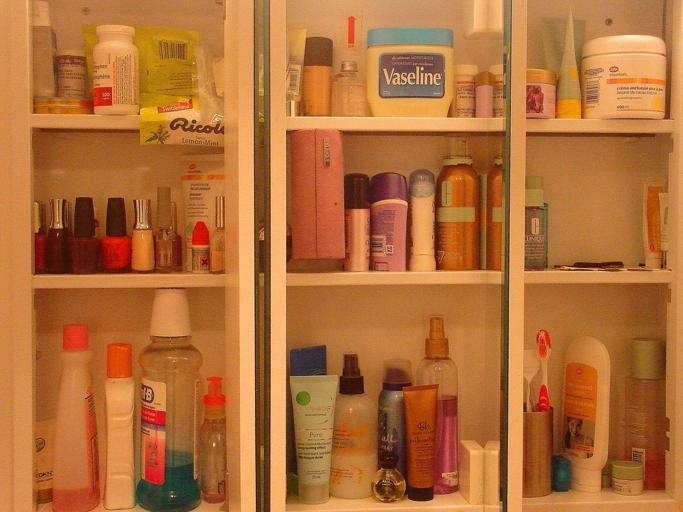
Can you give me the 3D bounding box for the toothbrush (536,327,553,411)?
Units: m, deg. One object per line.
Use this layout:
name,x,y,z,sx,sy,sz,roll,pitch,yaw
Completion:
toothbrush,0.355,0.208,1.227,0.017,0.147,0.026,9,-10,-43

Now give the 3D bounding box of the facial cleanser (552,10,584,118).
facial cleanser,0.384,-0.326,1.196,0.042,0.182,0.019,-3,2,-24

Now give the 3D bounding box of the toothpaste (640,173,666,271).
toothpaste,0.540,-0.059,1.221,0.023,0.143,0.042,-4,9,-7

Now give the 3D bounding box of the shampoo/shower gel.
shampoo/shower gel,0.019,0.291,1.212,0.061,0.238,0.078,-3,13,-24

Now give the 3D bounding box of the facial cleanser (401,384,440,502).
facial cleanser,0.137,0.321,1.218,0.062,0.205,0.050,0,-2,-4

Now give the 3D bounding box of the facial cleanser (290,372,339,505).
facial cleanser,-0.047,0.309,1.183,0.070,0.213,0.020,-2,2,-5
